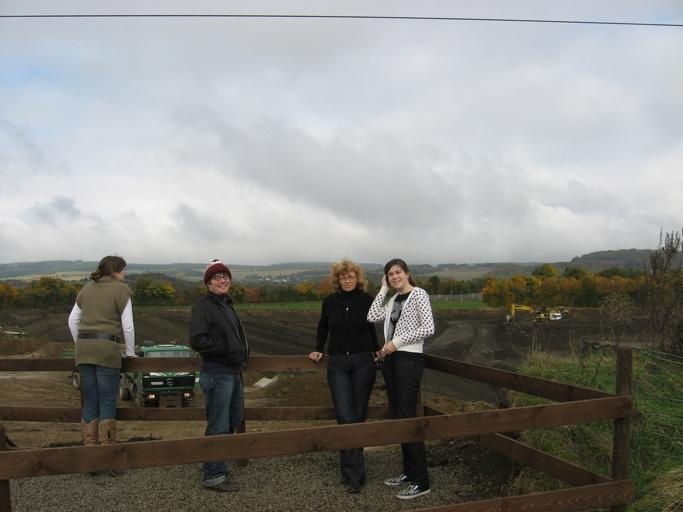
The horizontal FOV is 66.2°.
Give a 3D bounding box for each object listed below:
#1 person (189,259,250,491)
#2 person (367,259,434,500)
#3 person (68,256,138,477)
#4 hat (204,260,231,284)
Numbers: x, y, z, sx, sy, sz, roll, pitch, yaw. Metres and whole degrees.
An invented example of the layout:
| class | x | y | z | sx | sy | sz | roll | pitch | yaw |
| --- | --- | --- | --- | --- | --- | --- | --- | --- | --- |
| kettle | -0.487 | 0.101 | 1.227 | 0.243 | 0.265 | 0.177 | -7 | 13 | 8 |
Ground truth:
| class | x | y | z | sx | sy | sz | roll | pitch | yaw |
| --- | --- | --- | --- | --- | --- | --- | --- | --- | --- |
| person | -1.422 | 1.106 | 6.132 | 0.428 | 2.119 | 0.805 | 0 | -1 | 38 |
| person | 0.715 | 1.428 | 6.164 | 0.763 | 2.781 | 1.003 | 1 | -1 | -6 |
| person | -2.958 | 1.161 | 6.610 | 0.668 | 2.334 | 0.952 | 1 | -1 | -36 |
| hat | -1.397 | 0.194 | 5.932 | 0.264 | 0.255 | 0.250 | -5 | -6 | 43 |
